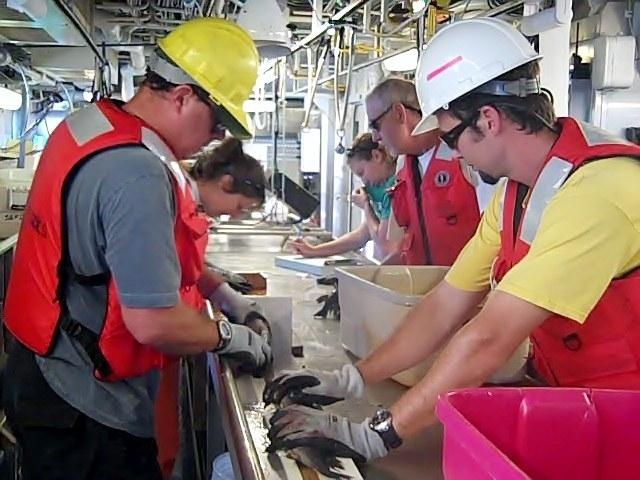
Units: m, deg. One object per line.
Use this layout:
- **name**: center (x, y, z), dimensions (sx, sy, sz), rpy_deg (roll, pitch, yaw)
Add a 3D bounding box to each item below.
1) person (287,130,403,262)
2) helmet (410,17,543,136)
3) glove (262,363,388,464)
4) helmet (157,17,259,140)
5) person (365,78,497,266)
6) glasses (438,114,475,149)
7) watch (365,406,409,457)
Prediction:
- **person**: center (0.359, -0.203, 4.060), dimensions (1.144, 1.305, 0.451), rpy_deg (1, -3, 7)
- **helmet**: center (0.435, -0.456, 1.556), dimensions (0.359, 0.279, 0.290), rpy_deg (-4, 9, 45)
- **glove**: center (0.016, 0.450, 1.321), dimensions (0.178, 0.093, 0.243), rpy_deg (12, 12, -11)
- **helmet**: center (-0.305, -0.539, 1.694), dimensions (0.348, 0.250, 0.259), rpy_deg (32, 10, -12)
- **person**: center (0.701, -0.125, 2.948), dimensions (0.572, 1.472, 0.466), rpy_deg (1, 31, 19)
- **glasses**: center (0.385, -0.310, 1.446), dimensions (0.021, 0.070, 0.067), rpy_deg (42, 5, -3)
- **watch**: center (0.169, 0.472, 1.305), dimensions (0.039, 0.103, 0.083), rpy_deg (-13, -15, -36)
